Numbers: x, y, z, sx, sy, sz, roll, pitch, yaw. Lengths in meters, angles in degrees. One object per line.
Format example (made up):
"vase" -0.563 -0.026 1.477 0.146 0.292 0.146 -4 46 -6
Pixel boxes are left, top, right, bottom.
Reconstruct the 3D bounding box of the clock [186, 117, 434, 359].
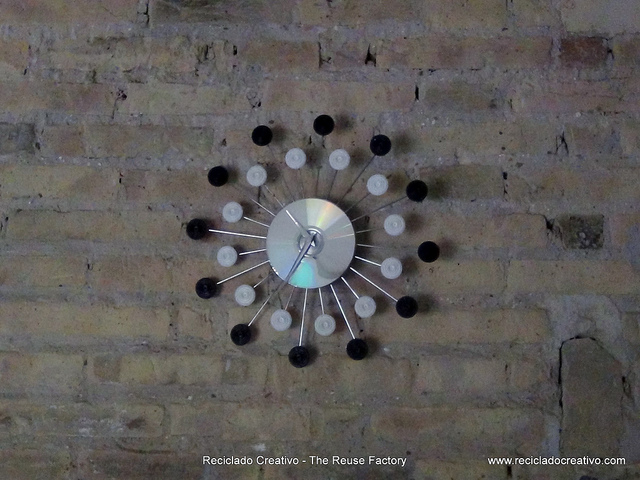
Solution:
"clock" -0.029 0.007 4.382 0.660 0.161 0.660 -11 78 -2
